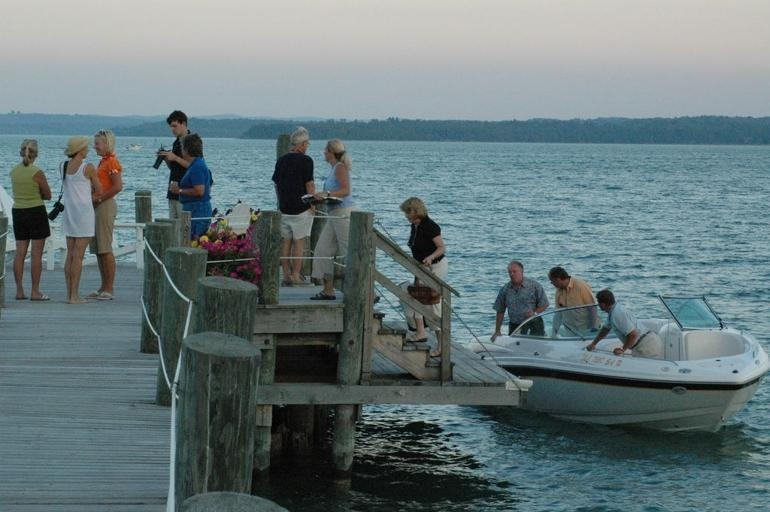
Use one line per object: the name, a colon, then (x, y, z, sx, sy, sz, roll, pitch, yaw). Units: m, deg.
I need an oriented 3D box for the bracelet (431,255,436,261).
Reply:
bracelet: (0.706, 0.024, 20.530, 0.082, 0.079, 0.027, -5, 10, -27)

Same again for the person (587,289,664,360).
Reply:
person: (4.118, 1.214, 23.483, 0.900, 0.482, 1.239, -6, -36, 33)

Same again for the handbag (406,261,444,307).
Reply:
handbag: (0.559, 0.533, 20.054, 0.564, 0.403, 0.318, 2, 5, 0)

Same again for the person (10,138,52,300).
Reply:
person: (-5.623, -0.555, 21.628, 0.630, 2.585, 1.166, -3, 9, -14)

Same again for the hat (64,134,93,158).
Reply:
hat: (-4.736, -1.697, 20.974, 0.458, 0.246, 0.335, -20, 33, -34)

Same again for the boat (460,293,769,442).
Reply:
boat: (3.705, 1.799, 22.913, 4.377, 1.266, 2.535, -1, -1, 31)

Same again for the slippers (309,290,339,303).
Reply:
slippers: (-0.907, 0.609, 20.286, 0.458, 0.130, 0.132, 1, 3, 3)

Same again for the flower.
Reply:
flower: (-2.385, 0.046, 20.779, 1.404, 0.873, 1.694, 1, 25, -5)

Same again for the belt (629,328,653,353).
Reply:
belt: (4.123, 1.368, 22.181, 0.203, 0.362, 0.313, 10, -10, 16)
